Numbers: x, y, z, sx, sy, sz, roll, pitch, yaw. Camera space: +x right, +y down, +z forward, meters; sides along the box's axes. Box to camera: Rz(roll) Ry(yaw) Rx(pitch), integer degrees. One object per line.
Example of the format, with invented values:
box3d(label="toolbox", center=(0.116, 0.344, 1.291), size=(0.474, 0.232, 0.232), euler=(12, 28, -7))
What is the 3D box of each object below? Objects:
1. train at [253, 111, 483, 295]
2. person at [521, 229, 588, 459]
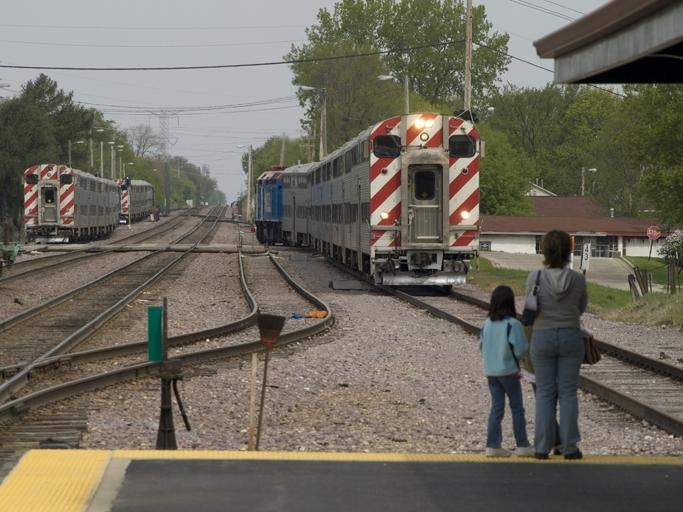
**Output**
box3d(label="train", center=(1.144, -2.191, 31.921), size=(4.435, 5.598, 22.525), euler=(0, 4, -13))
box3d(label="person", center=(1.970, 0.846, 7.343), size=(0.601, 2.145, 0.617), euler=(4, 7, 16))
